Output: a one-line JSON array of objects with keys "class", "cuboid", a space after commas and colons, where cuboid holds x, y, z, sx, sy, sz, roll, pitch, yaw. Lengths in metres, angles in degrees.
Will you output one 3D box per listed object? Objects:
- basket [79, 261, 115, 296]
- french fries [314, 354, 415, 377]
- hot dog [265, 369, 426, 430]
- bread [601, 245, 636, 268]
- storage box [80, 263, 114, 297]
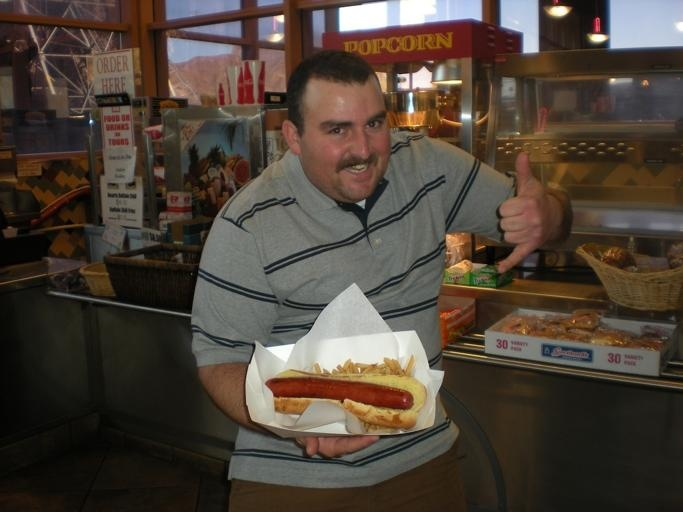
[{"class": "basket", "cuboid": [-1.385, 0.115, 3.068, 0.191, 0.097, 0.226, 0, 9, 4]}, {"class": "french fries", "cuboid": [0.061, 0.264, 1.257, 0.152, 0.030, 0.035, -1, 23, 9]}, {"class": "hot dog", "cuboid": [0.005, 0.325, 1.148, 0.357, 0.087, 0.168, 1, 12, 6]}, {"class": "bread", "cuboid": [1.272, 0.015, 2.407, 0.117, 0.048, 0.104, 27, 4, -4]}, {"class": "storage box", "cuboid": [-1.410, 0.120, 3.051, 0.196, 0.099, 0.224, -5, 7, -30]}]
